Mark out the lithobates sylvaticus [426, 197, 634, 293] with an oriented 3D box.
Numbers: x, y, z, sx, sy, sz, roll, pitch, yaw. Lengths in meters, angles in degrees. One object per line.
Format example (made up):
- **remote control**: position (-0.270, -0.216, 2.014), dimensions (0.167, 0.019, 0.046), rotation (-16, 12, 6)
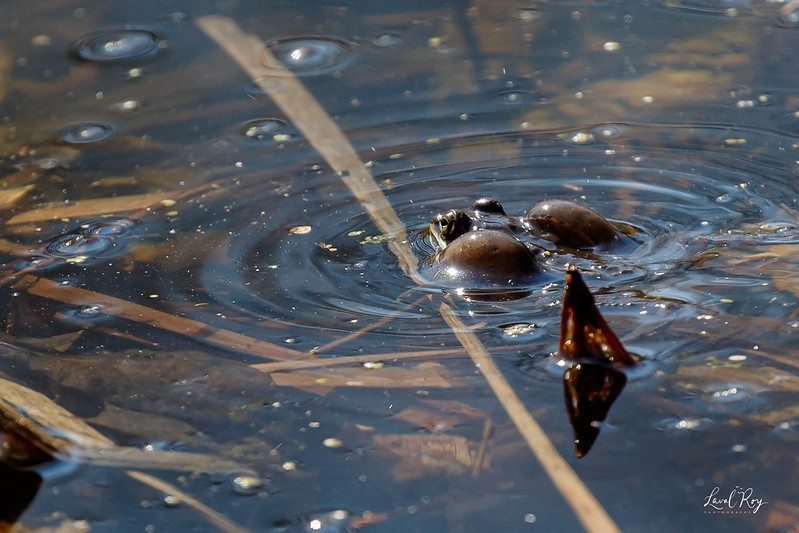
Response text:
- **lithobates sylvaticus**: position (0.562, -0.115, 3.906), dimensions (0.725, 0.112, 0.695), rotation (-20, 25, -35)
